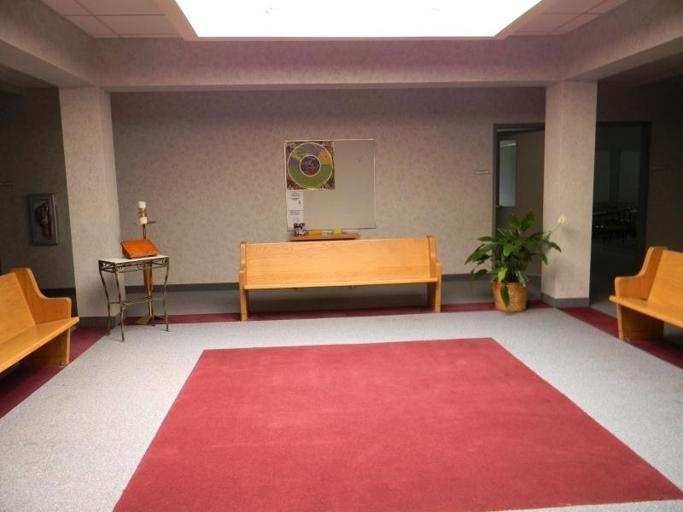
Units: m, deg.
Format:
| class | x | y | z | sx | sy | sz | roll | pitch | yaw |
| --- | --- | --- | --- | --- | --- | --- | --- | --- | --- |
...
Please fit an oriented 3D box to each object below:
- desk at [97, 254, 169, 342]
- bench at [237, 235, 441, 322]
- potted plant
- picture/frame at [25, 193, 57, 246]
| class | x | y | z | sx | sy | sz | roll | pitch | yaw |
| --- | --- | --- | --- | --- | --- | --- | --- | --- | --- |
| desk | -2.517 | 0.520 | 5.844 | 0.904 | 1.155 | 0.649 | -2 | 3 | -35 |
| bench | -0.028 | 0.278 | 6.016 | 2.440 | 0.926 | 0.599 | -2 | 8 | -6 |
| potted plant | 1.963 | 0.138 | 6.062 | 1.118 | 1.082 | 1.235 | -7 | 12 | -19 |
| picture/frame | -4.458 | -0.541 | 7.256 | 0.404 | 0.758 | 0.105 | -3 | 14 | -5 |
